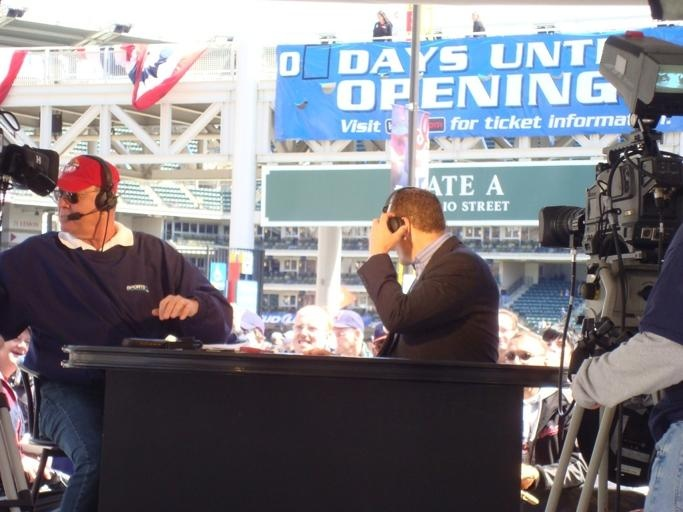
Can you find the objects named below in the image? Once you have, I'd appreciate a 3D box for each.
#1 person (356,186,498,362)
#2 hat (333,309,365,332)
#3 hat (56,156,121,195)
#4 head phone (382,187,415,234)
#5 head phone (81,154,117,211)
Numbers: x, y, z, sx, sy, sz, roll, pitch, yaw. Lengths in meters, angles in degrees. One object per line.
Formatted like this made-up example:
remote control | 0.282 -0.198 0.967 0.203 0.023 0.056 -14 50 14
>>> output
person | 0.595 0.252 6.471 0.793 1.643 0.958 -1 -18 9
hat | 0.075 0.648 10.223 0.257 0.147 0.189 20 -10 -21
hat | -1.529 -0.479 6.229 0.278 0.162 0.197 12 -8 -37
head phone | 0.279 -0.302 5.982 0.251 0.147 0.194 4 -22 -6
head phone | -1.462 -0.424 6.194 0.095 0.275 0.275 -3 -10 -30
